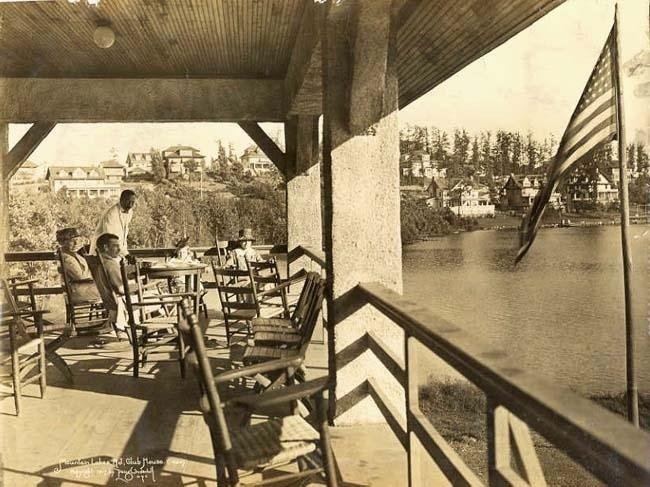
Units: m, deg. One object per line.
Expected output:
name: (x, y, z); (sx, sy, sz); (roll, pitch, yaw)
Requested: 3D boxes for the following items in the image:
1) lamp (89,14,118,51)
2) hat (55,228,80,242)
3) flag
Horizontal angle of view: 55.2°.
lamp: (-2.376, -2.238, 6.657); (0.229, 0.234, 0.370); (-1, 4, -22)
hat: (-3.138, -0.114, 7.511); (0.184, 0.144, 0.202); (-7, 1, 7)
flag: (2.321, -0.960, 5.846); (0.863, 1.952, 0.606); (1, 3, 14)
